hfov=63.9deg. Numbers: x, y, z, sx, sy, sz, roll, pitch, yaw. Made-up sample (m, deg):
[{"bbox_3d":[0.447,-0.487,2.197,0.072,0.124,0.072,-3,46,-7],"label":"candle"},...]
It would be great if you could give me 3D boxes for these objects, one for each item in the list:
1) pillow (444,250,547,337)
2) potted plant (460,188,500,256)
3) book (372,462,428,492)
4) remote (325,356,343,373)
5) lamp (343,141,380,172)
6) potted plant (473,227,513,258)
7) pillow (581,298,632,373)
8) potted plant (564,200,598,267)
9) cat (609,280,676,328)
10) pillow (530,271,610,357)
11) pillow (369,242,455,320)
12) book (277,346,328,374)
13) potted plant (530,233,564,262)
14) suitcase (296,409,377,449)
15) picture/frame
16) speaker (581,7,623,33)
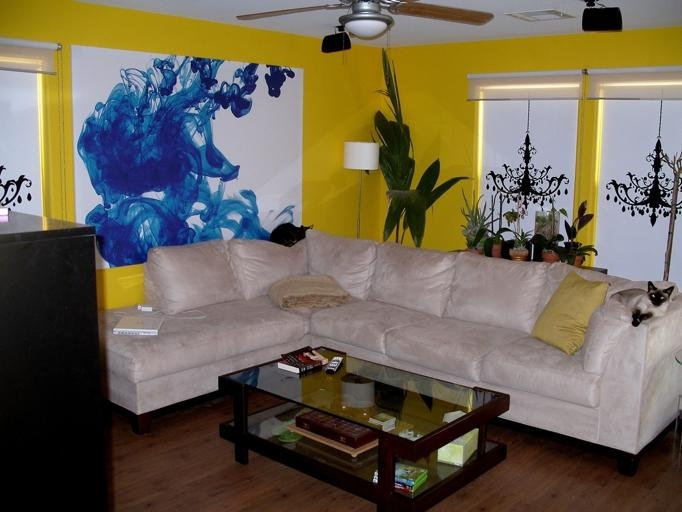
[{"bbox_3d":[1.217,0.278,4.314,0.775,0.534,0.340,8,11,39],"label":"pillow"},{"bbox_3d":[1.456,-0.317,5.683,0.482,0.642,0.376,0,11,-20],"label":"potted plant"},{"bbox_3d":[0.343,1.145,2.890,0.147,0.038,0.157,10,16,36],"label":"book"},{"bbox_3d":[-0.046,0.702,3.549,0.059,0.026,0.108,3,19,16],"label":"remote"},{"bbox_3d":[0.215,-1.129,6.145,0.356,0.263,0.329,-2,8,-36],"label":"lamp"},{"bbox_3d":[1.576,-0.135,5.618,0.345,0.336,0.350,6,14,33],"label":"potted plant"},{"bbox_3d":[1.596,0.480,3.348,0.160,0.375,0.372,20,2,-8],"label":"pillow"},{"bbox_3d":[2.238,-0.222,5.189,0.372,0.590,0.326,-3,13,-19],"label":"potted plant"},{"bbox_3d":[1.887,0.285,3.377,0.356,0.205,0.277,-2,13,-11],"label":"cat"},{"bbox_3d":[1.545,0.308,3.843,0.198,0.664,0.616,-28,39,-26],"label":"pillow"},{"bbox_3d":[0.597,0.204,4.770,0.803,0.531,0.287,10,13,40],"label":"pillow"},{"bbox_3d":[-0.243,0.681,3.558,0.171,0.041,0.174,9,16,34],"label":"book"},{"bbox_3d":[1.956,-0.106,5.259,0.315,0.243,0.355,-1,8,-15],"label":"potted plant"},{"bbox_3d":[-0.040,0.983,3.128,0.493,0.092,0.158,8,15,33],"label":"suitcase"},{"bbox_3d":[-1.456,-0.921,4.969,0.017,1.700,2.274,8,11,41],"label":"picture/frame"},{"bbox_3d":[1.727,-1.576,3.605,0.223,0.167,0.159,7,15,29],"label":"speaker"}]
